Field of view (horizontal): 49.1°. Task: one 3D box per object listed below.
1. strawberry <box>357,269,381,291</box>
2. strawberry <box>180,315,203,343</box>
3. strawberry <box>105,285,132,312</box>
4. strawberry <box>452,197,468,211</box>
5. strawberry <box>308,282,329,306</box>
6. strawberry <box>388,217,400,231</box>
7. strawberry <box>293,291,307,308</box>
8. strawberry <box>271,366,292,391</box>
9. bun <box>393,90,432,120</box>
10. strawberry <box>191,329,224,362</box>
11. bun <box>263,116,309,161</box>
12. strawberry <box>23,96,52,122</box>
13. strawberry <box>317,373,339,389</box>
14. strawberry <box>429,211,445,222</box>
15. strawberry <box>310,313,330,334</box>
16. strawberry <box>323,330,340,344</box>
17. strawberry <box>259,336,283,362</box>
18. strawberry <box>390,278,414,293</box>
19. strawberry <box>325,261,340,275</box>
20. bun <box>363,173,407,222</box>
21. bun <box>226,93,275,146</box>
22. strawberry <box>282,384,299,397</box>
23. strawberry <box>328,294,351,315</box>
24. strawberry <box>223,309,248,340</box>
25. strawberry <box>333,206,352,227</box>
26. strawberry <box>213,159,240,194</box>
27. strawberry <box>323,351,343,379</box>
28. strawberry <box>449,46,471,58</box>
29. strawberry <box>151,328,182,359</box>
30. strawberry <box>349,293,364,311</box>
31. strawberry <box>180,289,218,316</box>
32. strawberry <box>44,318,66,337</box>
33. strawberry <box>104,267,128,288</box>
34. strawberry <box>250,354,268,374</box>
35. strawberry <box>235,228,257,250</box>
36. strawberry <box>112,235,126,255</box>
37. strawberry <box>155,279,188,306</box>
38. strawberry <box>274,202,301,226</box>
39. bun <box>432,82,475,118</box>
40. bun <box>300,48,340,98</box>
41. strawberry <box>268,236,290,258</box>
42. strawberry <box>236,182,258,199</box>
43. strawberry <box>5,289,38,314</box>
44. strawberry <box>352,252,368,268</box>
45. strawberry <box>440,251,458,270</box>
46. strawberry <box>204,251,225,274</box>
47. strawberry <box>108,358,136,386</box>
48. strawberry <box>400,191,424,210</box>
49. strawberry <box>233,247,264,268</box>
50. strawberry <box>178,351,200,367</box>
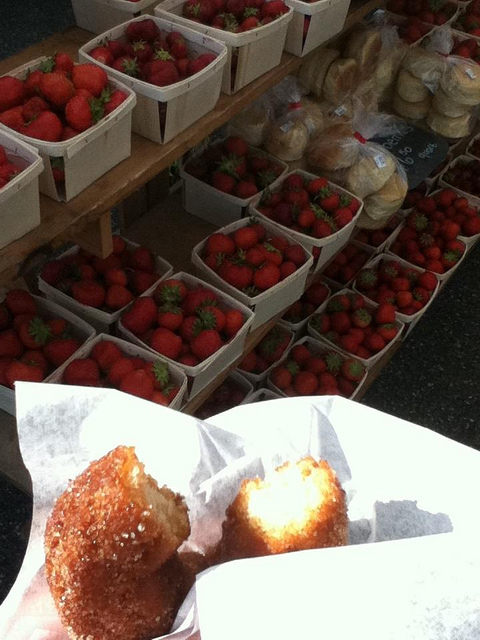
[{"bbox_3d":[0.693,-0.210,2.790,0.129,0.086,0.114,12,47,3],"label":"strawberry"},{"bbox_3d":[-0.153,0.024,1.649,0.079,0.083,0.076,3,16,-8],"label":"strawberry"},{"bbox_3d":[-0.389,-0.067,1.680,0.076,0.081,0.088,8,89,13],"label":"strawberry"},{"bbox_3d":[1.306,-0.693,3.104,0.085,0.041,0.089,-29,57,-30],"label":"strawberry"},{"bbox_3d":[0.389,-0.131,2.612,0.102,0.106,0.128,11,16,12],"label":"strawberry"},{"bbox_3d":[0.910,-0.565,3.100,0.079,0.043,0.061,-46,109,-22],"label":"strawberry"},{"bbox_3d":[0.306,-0.090,2.595,0.078,0.090,0.073,-3,75,10],"label":"strawberry"},{"bbox_3d":[0.185,0.263,2.332,0.085,0.055,0.097,-26,73,8],"label":"strawberry"},{"bbox_3d":[1.023,-1.258,3.119,0.177,0.144,0.168,13,53,15],"label":"bun"},{"bbox_3d":[-0.094,0.079,1.606,0.096,0.093,0.092,1,89,0],"label":"strawberry"},{"bbox_3d":[0.241,-0.878,2.482,0.228,0.218,0.223,11,38,12],"label":"bun"},{"bbox_3d":[-0.418,-0.435,1.083,0.050,0.043,0.052,21,43,-38],"label":"strawberry"},{"bbox_3d":[0.403,0.268,2.385,0.055,0.059,0.076,57,30,0],"label":"strawberry"},{"bbox_3d":[1.152,-0.605,3.070,0.065,0.062,0.075,34,43,-7],"label":"strawberry"},{"bbox_3d":[0.391,0.015,2.554,0.091,0.090,0.085,0,91,-9],"label":"strawberry"},{"bbox_3d":[0.445,0.077,2.525,0.056,0.055,0.056,-44,91,7],"label":"strawberry"},{"bbox_3d":[0.141,0.129,2.401,0.110,0.058,0.104,25,84,-4],"label":"strawberry"},{"bbox_3d":[0.841,-0.184,2.732,0.087,0.096,0.080,28,48,25],"label":"strawberry"},{"bbox_3d":[0.508,-0.280,2.827,0.088,0.071,0.068,13,85,1],"label":"strawberry"},{"bbox_3d":[0.719,-0.595,2.584,0.192,0.236,0.095,41,20,-14],"label":"bun"},{"bbox_3d":[0.060,-0.914,2.435,0.266,0.188,0.136,-33,60,-31],"label":"bun"},{"bbox_3d":[0.228,0.320,2.359,0.062,0.040,0.069,-7,74,7],"label":"strawberry"},{"bbox_3d":[0.499,-0.089,2.615,0.098,0.089,0.110,31,16,7],"label":"strawberry"},{"bbox_3d":[-0.014,0.004,1.732,0.070,0.073,0.107,14,48,5],"label":"strawberry"},{"bbox_3d":[0.424,-0.426,2.164,0.078,0.086,0.075,-3,34,-17],"label":"strawberry"},{"bbox_3d":[-0.061,-0.605,2.263,0.129,0.144,0.124,-14,87,-10],"label":"strawberry"},{"bbox_3d":[0.427,0.202,2.389,0.105,0.116,0.104,-6,81,-6],"label":"strawberry"},{"bbox_3d":[1.303,-1.583,3.104,0.116,0.060,0.089,-11,10,-44],"label":"strawberry"},{"bbox_3d":[-0.228,0.073,1.620,0.085,0.065,0.077,19,48,10],"label":"strawberry"},{"bbox_3d":[0.585,-0.092,2.659,0.080,0.076,0.075,7,79,16],"label":"strawberry"},{"bbox_3d":[-0.135,-0.062,1.700,0.114,0.102,0.078,-10,81,-33],"label":"strawberry"},{"bbox_3d":[-0.543,0.020,1.556,0.062,0.044,0.045,-7,22,-30],"label":"strawberry"},{"bbox_3d":[-0.401,-0.148,1.741,0.062,0.072,0.065,4,28,18],"label":"strawberry"},{"bbox_3d":[0.093,0.200,2.410,0.086,0.064,0.061,-14,48,2],"label":"strawberry"},{"bbox_3d":[0.024,-0.302,1.983,0.081,0.073,0.085,7,78,-30],"label":"strawberry"},{"bbox_3d":[-0.421,-0.260,1.840,0.040,0.073,0.099,-3,48,-10],"label":"strawberry"},{"bbox_3d":[-0.216,-0.101,1.678,0.091,0.079,0.099,-5,11,-5],"label":"strawberry"},{"bbox_3d":[0.195,-0.429,2.114,0.110,0.092,0.093,-2,70,7],"label":"strawberry"},{"bbox_3d":[1.206,-1.240,3.061,0.180,0.177,0.179,-40,77,-12],"label":"bun"},{"bbox_3d":[0.405,-1.222,2.588,0.190,0.181,0.133,-34,61,-32],"label":"bun"},{"bbox_3d":[0.149,-0.276,1.987,0.068,0.054,0.059,29,15,-24],"label":"strawberry"},{"bbox_3d":[0.026,-0.542,2.235,0.064,0.075,0.042,-3,67,-13],"label":"strawberry"},{"bbox_3d":[-0.655,-0.044,1.574,0.074,0.095,0.066,5,48,-3],"label":"strawberry"},{"bbox_3d":[0.672,-0.340,2.964,0.084,0.093,0.078,-7,80,-3],"label":"strawberry"},{"bbox_3d":[1.161,-0.335,2.951,0.092,0.103,0.083,8,84,0],"label":"strawberry"},{"bbox_3d":[-0.087,-0.212,1.922,0.079,0.072,0.067,3,56,45],"label":"strawberry"},{"bbox_3d":[-0.337,0.144,1.489,0.077,0.074,0.084,0,94,2],"label":"strawberry"},{"bbox_3d":[1.049,-0.729,3.200,0.137,0.073,0.102,-38,61,-21],"label":"strawberry"},{"bbox_3d":[0.033,-0.224,1.886,0.076,0.033,0.076,15,36,30],"label":"strawberry"},{"bbox_3d":[-0.156,0.123,1.615,0.039,0.020,0.039,39,54,2],"label":"strawberry"}]
